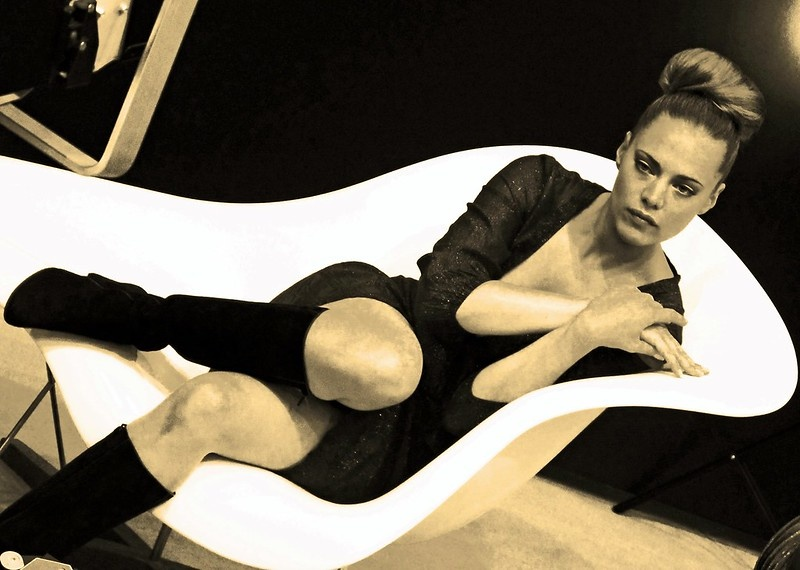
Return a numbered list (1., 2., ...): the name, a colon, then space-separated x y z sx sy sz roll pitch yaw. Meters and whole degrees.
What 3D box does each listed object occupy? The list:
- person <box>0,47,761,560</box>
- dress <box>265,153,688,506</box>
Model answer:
1. person: -0.027 -0.128 2.168 1.543 0.982 0.886 3 42 -25
2. dress: 0.209 0.200 2.201 0.847 0.184 0.596 -39 42 -1
